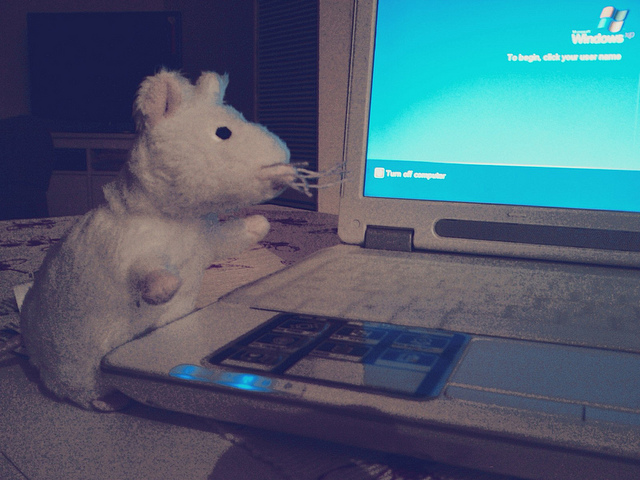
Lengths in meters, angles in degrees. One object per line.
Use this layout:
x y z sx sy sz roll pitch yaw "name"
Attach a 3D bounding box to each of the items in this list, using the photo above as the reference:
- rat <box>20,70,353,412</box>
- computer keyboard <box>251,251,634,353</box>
-0.136 -0.015 0.648 0.381 0.333 0.247 5 8 5 "rat"
0.125 0.020 0.795 0.462 0.059 0.578 5 8 17 "computer keyboard"
